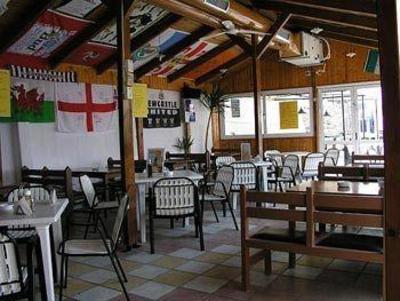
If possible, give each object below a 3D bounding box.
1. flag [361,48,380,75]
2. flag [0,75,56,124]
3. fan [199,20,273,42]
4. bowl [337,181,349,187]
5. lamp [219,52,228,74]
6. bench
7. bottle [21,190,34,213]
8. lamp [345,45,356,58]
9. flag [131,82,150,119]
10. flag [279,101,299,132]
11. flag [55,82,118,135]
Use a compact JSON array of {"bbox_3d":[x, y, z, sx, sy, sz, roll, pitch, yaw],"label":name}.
[{"bbox_3d":[4.938,-2.497,9.687,0.488,0.619,0.055,7,9,-10],"label":"flag"},{"bbox_3d":[-3.413,-0.995,6.629,0.037,0.762,1.009,-3,-2,31],"label":"flag"},{"bbox_3d":[0.551,-2.214,6.262,0.861,0.174,0.852,-2,6,26],"label":"fan"},{"bbox_3d":[1.693,0.402,3.992,0.091,0.036,0.081,-1,3,-24],"label":"bowl"},{"bbox_3d":[0.716,-2.615,10.798,0.238,0.323,0.121,-6,-8,27],"label":"lamp"},{"bbox_3d":[1.180,0.786,3.524,1.248,1.025,1.267,0,5,29],"label":"bench"},{"bbox_3d":[-1.608,0.468,3.162,0.077,0.193,0.248,-5,5,-29],"label":"bottle"},{"bbox_3d":[4.415,-2.886,9.962,0.077,0.320,0.292,0,13,-45],"label":"lamp"},{"bbox_3d":[-0.953,-0.777,5.301,0.234,0.511,0.399,-3,5,-11],"label":"flag"},{"bbox_3d":[2.910,-1.152,11.179,0.576,0.994,0.119,-2,31,15],"label":"flag"},{"bbox_3d":[-2.606,-0.978,7.836,0.052,1.119,1.566,5,9,39],"label":"flag"}]
